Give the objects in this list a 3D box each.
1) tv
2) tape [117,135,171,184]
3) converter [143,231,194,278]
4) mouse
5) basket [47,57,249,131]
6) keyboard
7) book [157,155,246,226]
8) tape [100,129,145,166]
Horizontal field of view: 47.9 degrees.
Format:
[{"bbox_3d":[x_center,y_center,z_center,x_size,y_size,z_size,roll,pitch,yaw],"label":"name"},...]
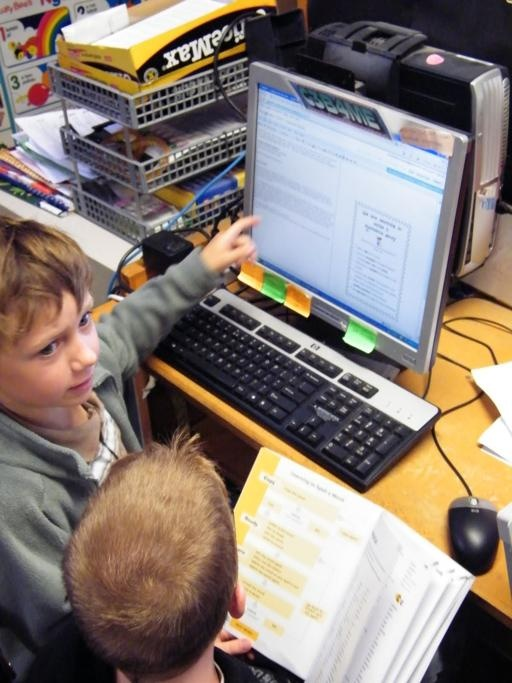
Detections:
[{"bbox_3d":[0.134,-0.193,0.873,0.101,0.375,0.391,-30,47,-30],"label":"tv"},{"bbox_3d":[-0.208,-0.365,1.125,0.109,0.029,0.108,26,64,23],"label":"tape"},{"bbox_3d":[-0.156,-0.151,1.014,0.069,0.055,0.076,26,44,25],"label":"converter"},{"bbox_3d":[0.243,0.213,0.633,0.046,0.027,0.084,6,46,9],"label":"mouse"},{"bbox_3d":[-0.193,-0.481,1.106,0.265,0.081,0.206,-26,47,-31],"label":"basket"},{"bbox_3d":[0.041,0.111,0.913,0.304,0.250,0.376,-26,41,26],"label":"keyboard"},{"bbox_3d":[-0.125,-0.359,1.262,0.182,0.037,0.193,-40,54,-20],"label":"book"},{"bbox_3d":[-0.260,-0.397,1.149,0.088,0.024,0.089,26,63,18],"label":"tape"}]
